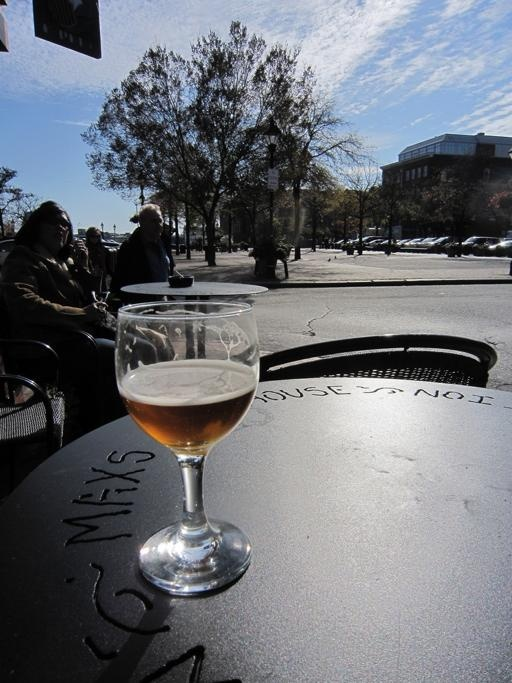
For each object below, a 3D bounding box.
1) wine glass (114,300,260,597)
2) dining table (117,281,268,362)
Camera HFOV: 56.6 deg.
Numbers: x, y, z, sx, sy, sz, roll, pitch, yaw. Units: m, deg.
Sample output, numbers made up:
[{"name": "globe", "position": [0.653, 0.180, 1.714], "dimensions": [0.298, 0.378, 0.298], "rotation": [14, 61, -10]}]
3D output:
[{"name": "wine glass", "position": [-0.090, 0.102, 0.631], "dimensions": [0.186, 0.301, 0.300], "rotation": [-1, 9, 0]}, {"name": "dining table", "position": [-0.581, -0.303, 4.108], "dimensions": [0.898, 0.552, 0.894], "rotation": [0, 6, 2]}]
